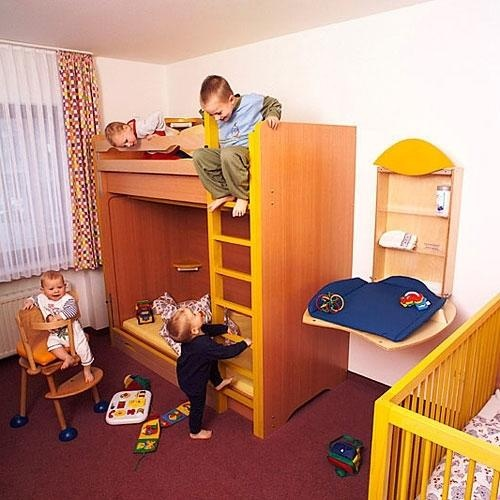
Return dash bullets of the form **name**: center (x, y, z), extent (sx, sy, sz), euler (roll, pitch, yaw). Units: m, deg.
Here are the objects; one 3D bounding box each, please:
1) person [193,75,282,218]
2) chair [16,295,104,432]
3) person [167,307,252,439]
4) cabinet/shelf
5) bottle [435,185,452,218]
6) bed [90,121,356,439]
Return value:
- **person**: center (-0.087, -0.633, 2.641), extent (0.543, 0.820, 0.434), euler (-2, 16, 4)
- **chair**: center (-1.468, 0.868, 3.254), extent (0.669, 0.741, 0.770), euler (-9, 9, -39)
- **person**: center (-0.289, 0.807, 3.024), extent (0.493, 0.900, 0.420), euler (-10, 17, -21)
- **cabinet/shelf**: center (1.130, -0.137, 2.968), extent (0.525, 0.858, 0.196), euler (12, 23, 43)
- **bottle**: center (1.239, -0.319, 2.781), extent (0.079, 0.194, 0.195), euler (2, 17, 19)
- **bed**: center (-0.287, -0.182, 3.489), extent (1.728, 1.458, 0.990), euler (11, 23, 41)
